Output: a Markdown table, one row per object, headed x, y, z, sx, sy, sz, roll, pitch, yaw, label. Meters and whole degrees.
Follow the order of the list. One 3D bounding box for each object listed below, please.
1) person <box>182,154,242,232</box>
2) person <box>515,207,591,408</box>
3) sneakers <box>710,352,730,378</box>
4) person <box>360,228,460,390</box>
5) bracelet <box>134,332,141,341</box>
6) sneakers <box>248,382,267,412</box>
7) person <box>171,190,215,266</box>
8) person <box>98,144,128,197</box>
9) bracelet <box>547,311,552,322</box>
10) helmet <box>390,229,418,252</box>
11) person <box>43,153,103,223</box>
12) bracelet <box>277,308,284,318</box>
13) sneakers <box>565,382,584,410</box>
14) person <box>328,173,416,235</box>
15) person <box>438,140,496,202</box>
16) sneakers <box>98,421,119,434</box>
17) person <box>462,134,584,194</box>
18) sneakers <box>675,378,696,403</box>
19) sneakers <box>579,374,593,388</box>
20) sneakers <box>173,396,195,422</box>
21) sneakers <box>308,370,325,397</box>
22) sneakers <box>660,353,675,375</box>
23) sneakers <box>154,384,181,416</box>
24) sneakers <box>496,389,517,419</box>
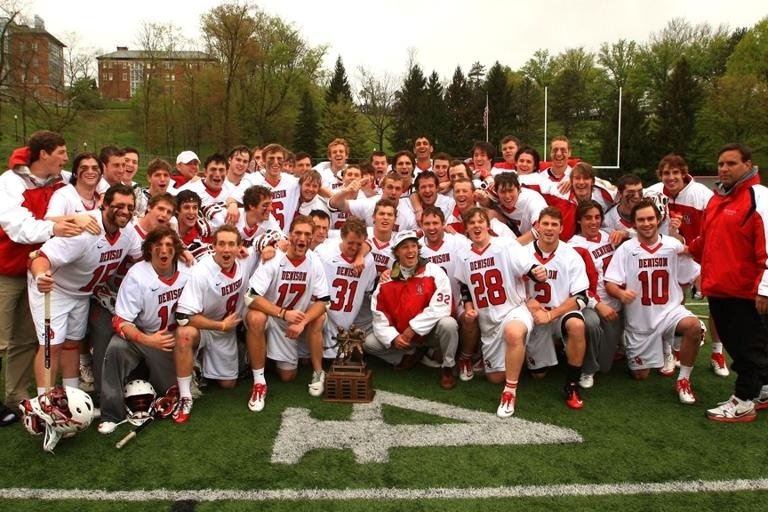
| x | y | z | sx | sy | sz | roll | pitch | yaw | label |
| --- | --- | --- | --- | --- | --- | --- | --- | --- | --- |
| -2.755 | -1.005 | 9.277 | 1.161 | 1.052 | 0.632 | -13 | 29 | -36 | person |
| 2.350 | 0.596 | 7.985 | 1.048 | 2.488 | 0.858 | 10 | 13 | 39 | person |
| 4.901 | 1.568 | 8.340 | 0.169 | 0.208 | 0.493 | -6 | 19 | 18 | sneakers |
| 0.485 | 0.720 | 8.435 | 1.443 | 2.114 | 1.137 | 2 | 16 | 32 | person |
| -3.066 | 1.010 | 7.163 | 0.084 | 0.084 | 0.021 | -6 | -11 | 19 | bracelet |
| -1.656 | 1.865 | 7.527 | 0.148 | 0.174 | 0.415 | 0 | 7 | -2 | sneakers |
| -2.769 | -0.404 | 8.387 | 0.400 | 0.922 | 0.896 | -12 | -13 | 28 | person |
| -4.060 | -1.262 | 8.444 | 0.425 | 0.745 | 0.430 | -2 | 11 | -34 | person |
| 2.282 | 0.830 | 7.876 | 0.084 | 0.085 | 0.085 | 17 | 56 | 9 | bracelet |
| 0.297 | -0.223 | 8.287 | 0.306 | 0.294 | 0.377 | -1 | 11 | -11 | helmet |
| -3.977 | -0.857 | 7.306 | 0.554 | 1.053 | 0.806 | 10 | 10 | 29 | person |
| -1.425 | 0.778 | 7.876 | 0.030 | 0.098 | 0.103 | 13 | 35 | -28 | bracelet |
| 2.516 | 1.841 | 7.552 | 0.231 | 0.256 | 0.291 | 2 | 11 | 4 | sneakers |
| -0.136 | -0.927 | 9.710 | 0.378 | 0.927 | 1.264 | 22 | 17 | -25 | person |
| 1.644 | -1.591 | 10.493 | 0.961 | 0.596 | 1.285 | 15 | 17 | 18 | person |
| -3.358 | 2.088 | 6.993 | 0.212 | 0.114 | 0.148 | -2 | 11 | -18 | sneakers |
| 2.370 | -1.482 | 10.551 | 1.816 | 0.778 | 1.233 | 14 | 8 | 43 | person |
| 4.020 | 1.809 | 7.615 | 0.154 | 0.188 | 0.432 | -4 | 3 | 9 | sneakers |
| 2.841 | 1.742 | 8.009 | 0.273 | 0.178 | 0.126 | -2 | 11 | -16 | sneakers |
| -2.568 | 1.944 | 7.320 | 0.244 | 0.237 | 0.351 | -2 | 11 | -15 | sneakers |
| -0.923 | 1.744 | 7.894 | 0.238 | 0.287 | 0.302 | 0 | 11 | -7 | sneakers |
| 4.182 | 1.612 | 8.444 | 0.142 | 0.217 | 0.367 | -11 | 3 | 40 | sneakers |
| -2.797 | 1.884 | 7.472 | 0.180 | 0.140 | 0.362 | 30 | 42 | -8 | sneakers |
| 1.559 | 1.916 | 7.349 | 0.149 | 0.166 | 0.417 | 1 | 4 | 20 | sneakers |
